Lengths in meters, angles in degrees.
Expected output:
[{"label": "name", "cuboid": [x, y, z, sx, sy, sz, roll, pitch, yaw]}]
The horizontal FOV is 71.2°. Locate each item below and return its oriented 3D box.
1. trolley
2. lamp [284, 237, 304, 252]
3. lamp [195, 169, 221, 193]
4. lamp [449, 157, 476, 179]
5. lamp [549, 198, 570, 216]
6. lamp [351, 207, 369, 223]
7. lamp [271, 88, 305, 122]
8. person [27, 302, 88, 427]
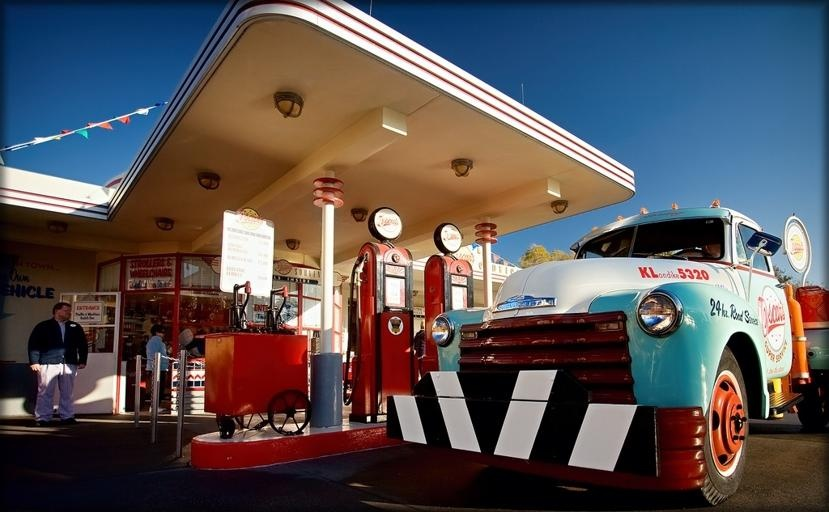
[{"label": "trolley", "cuboid": [-2.343, 1.591, 8.691, 1.350, 2.020, 1.359, 7, -11, -42]}, {"label": "lamp", "cuboid": [-3.210, -0.304, 15.401, 0.366, 0.269, 0.379, -2, 1, -24]}, {"label": "lamp", "cuboid": [-3.900, -1.415, 11.002, 0.450, 0.278, 0.749, 0, -4, -19]}, {"label": "lamp", "cuboid": [0.864, -1.583, 10.489, 0.358, 0.198, 0.340, 5, -8, -11]}, {"label": "lamp", "cuboid": [2.970, -1.004, 11.982, 0.329, 0.228, 0.316, -4, -13, 29]}, {"label": "lamp", "cuboid": [-1.234, -0.919, 12.984, 0.325, 0.194, 0.310, 3, -6, -3]}, {"label": "lamp", "cuboid": [-1.872, -2.248, 8.696, 0.454, 0.323, 0.520, -3, -4, 25]}, {"label": "person", "cuboid": [-6.677, 2.033, 10.893, 0.897, 2.272, 0.454, 2, -5, -30]}]
